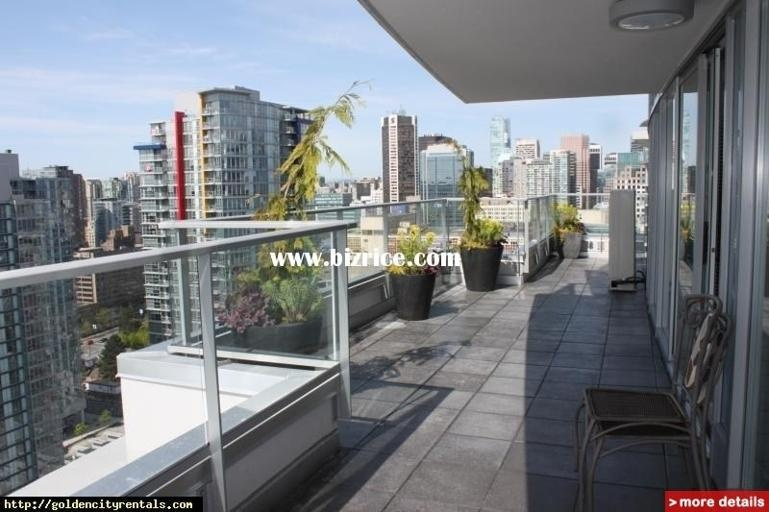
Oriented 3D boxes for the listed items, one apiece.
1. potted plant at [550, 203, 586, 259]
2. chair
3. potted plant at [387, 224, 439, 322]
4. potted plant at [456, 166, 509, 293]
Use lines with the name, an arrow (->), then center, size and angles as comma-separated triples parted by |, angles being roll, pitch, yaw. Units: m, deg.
potted plant -> 4.174, -0.669, 12.813 | 1.053, 1.646, 0.985 | 1, 10, 18
chair -> 1.762, 0.851, 3.508 | 0.821, 1.258, 1.854 | 0, 8, 33
potted plant -> 0.369, 0.244, 7.356 | 0.657, 1.211, 0.667 | 0, 4, 22
potted plant -> 1.529, -0.463, 9.121 | 0.936, 2.239, 0.929 | -9, 14, -7
